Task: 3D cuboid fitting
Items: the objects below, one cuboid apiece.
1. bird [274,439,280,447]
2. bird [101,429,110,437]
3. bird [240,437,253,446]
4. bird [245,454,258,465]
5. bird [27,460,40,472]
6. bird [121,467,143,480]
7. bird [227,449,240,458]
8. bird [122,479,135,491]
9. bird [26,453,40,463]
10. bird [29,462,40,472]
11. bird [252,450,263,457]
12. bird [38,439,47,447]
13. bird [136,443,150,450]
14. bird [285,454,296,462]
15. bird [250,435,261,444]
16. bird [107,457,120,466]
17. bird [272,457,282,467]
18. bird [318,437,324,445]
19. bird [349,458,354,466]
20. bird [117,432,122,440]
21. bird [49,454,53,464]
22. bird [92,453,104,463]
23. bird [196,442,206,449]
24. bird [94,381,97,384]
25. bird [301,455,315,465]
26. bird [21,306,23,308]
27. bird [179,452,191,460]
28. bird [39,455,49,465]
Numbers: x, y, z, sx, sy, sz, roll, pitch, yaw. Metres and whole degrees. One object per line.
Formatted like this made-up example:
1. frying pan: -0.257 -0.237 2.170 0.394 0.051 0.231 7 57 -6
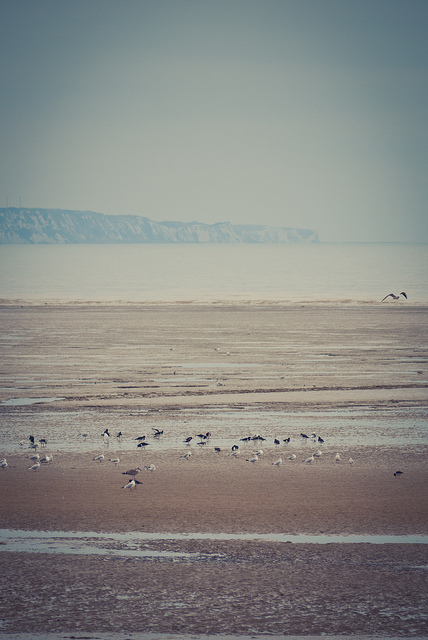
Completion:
1. bird: 1.345 2.720 28.871 0.093 0.129 0.051 -2 -4 16
2. bird: -2.403 2.536 29.257 0.173 0.163 0.059 32 10 21
3. bird: 0.687 2.698 29.044 0.122 0.223 0.341 -5 -2 -13
4. bird: 0.783 2.918 27.406 0.244 0.125 0.417 -2 11 -5
5. bird: -3.622 2.991 26.617 0.218 0.168 0.127 -20 -9 10
6. bird: -1.658 3.051 26.209 0.423 0.276 0.135 12 10 37
7. bird: 0.396 2.840 27.921 0.211 0.095 0.352 1 11 10
8. bird: -1.646 3.206 25.470 0.247 0.169 0.353 -3 11 -10
9. bird: -3.702 2.855 27.115 0.248 0.193 0.085 16 16 42
10. bird: -3.613 2.987 26.652 0.206 0.126 0.289 -3 11 -10
11. bird: 0.936 2.818 27.707 0.130 0.102 0.074 18 1 -36
12. bird: -3.704 2.683 28.654 0.142 0.142 0.080 1 -7 -8
13. bird: -1.531 2.746 28.461 0.321 0.130 0.108 -4 6 7
14. bird: 1.593 2.866 27.444 0.062 0.122 0.197 -12 29 -40
15. bird: 0.894 2.650 29.110 0.128 0.106 0.246 7 13 36
16. bird: -2.073 2.930 27.297 0.218 0.168 0.075 17 23 40
17. bird: 1.270 2.973 27.316 0.196 0.146 0.089 -9 -2 -19
18. bird: 2.292 2.644 28.823 0.107 0.122 0.291 1 11 11
19. bird: 2.771 2.915 27.094 0.053 0.092 0.064 -20 -19 30
20. bird: -2.123 2.618 29.500 0.084 0.112 0.040 -4 -12 -3
21. bird: -3.364 2.905 27.287 0.069 0.121 0.185 3 24 -5
22. bird: -2.395 2.874 27.400 0.233 0.152 0.080 -21 -22 40
23. bird: -0.292 2.718 28.564 0.189 0.063 0.245 -1 11 0
24. bird: -3.284 1.758 36.534 0.060 0.058 0.033 0 10 2
25. bird: 1.922 2.939 27.441 0.103 0.195 0.316 3 -3 45
26. bird: -9.327 -0.632 64.333 0.083 0.079 0.082 -14 20 -36
27. bird: -0.567 2.842 27.643 0.216 0.121 0.304 8 14 38
28. bird: -3.467 2.908 27.164 0.174 0.120 0.250 3 12 21
